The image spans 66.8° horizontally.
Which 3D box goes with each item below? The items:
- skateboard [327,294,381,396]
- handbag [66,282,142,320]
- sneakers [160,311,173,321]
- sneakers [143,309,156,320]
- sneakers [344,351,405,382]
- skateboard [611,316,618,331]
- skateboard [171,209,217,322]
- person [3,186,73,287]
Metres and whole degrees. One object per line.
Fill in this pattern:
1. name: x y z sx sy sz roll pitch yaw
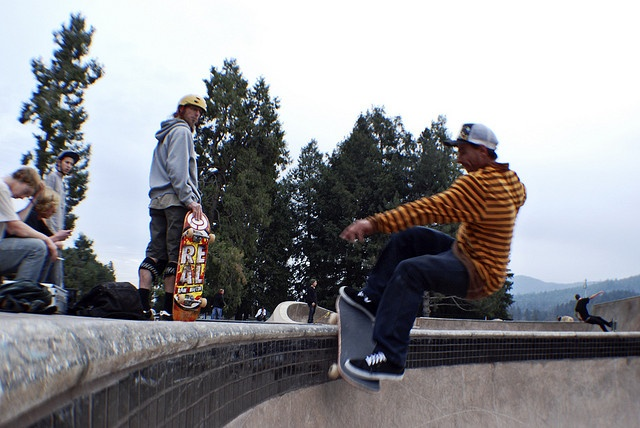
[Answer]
1. skateboard: 0.251 0.963 3.313 0.352 0.147 0.853 22 15 -2
2. handbag: -1.483 0.583 3.376 0.486 0.268 0.409 4 -14 -13
3. sneakers: -1.338 0.868 4.227 0.099 0.077 0.211 5 -16 -18
4. sneakers: -1.399 0.810 3.986 0.090 0.114 0.597 5 -16 -19
5. sneakers: 0.355 0.983 3.184 0.376 0.183 0.164 10 -15 -4
6. skateboard: 9.524 3.525 15.766 0.171 0.347 0.300 -5 -14 26
7. skateboard: -1.116 0.420 4.320 0.259 1.113 0.144 -1 35 -23
8. person: -2.633 0.203 4.637 0.519 1.105 0.366 7 -2 30
